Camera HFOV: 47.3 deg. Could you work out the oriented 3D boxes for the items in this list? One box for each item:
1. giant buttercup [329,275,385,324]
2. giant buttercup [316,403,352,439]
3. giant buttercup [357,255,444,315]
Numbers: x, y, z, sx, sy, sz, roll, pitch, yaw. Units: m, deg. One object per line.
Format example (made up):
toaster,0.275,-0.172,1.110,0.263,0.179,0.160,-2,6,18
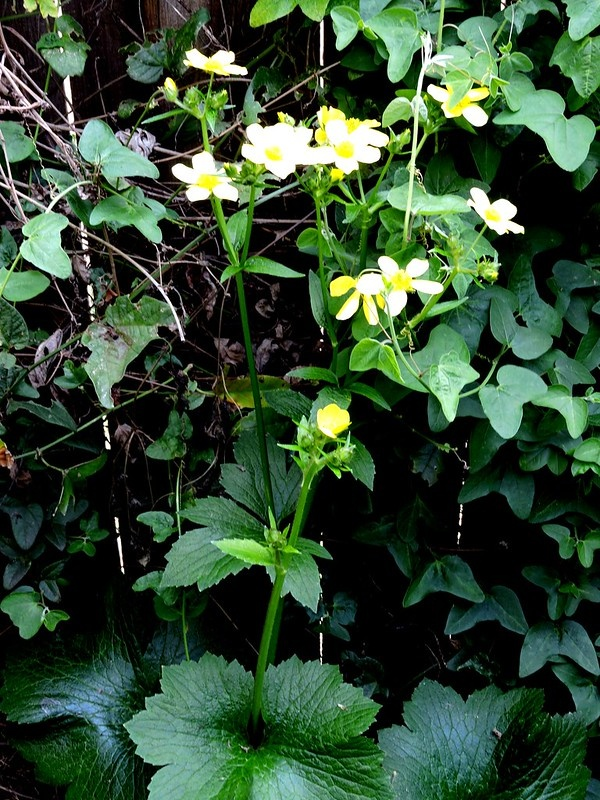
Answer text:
giant buttercup,0.079,-0.149,0.954,0.077,0.026,0.079,-16,59,2
giant buttercup,0.049,0.033,0.953,0.044,0.023,0.047,30,65,11
giant buttercup,0.134,-0.145,0.904,0.111,0.069,0.075,-21,46,-15
